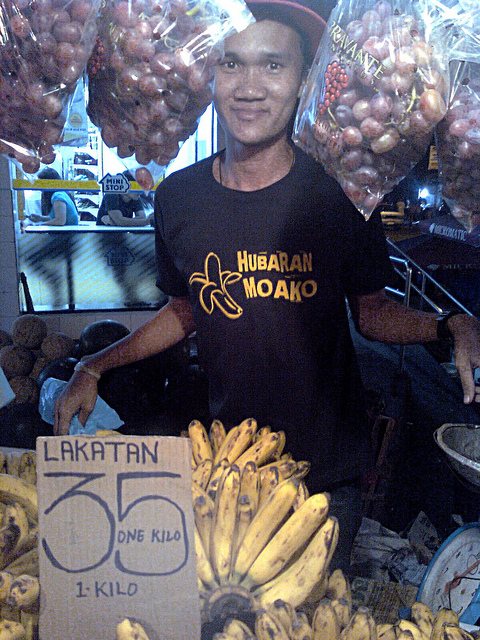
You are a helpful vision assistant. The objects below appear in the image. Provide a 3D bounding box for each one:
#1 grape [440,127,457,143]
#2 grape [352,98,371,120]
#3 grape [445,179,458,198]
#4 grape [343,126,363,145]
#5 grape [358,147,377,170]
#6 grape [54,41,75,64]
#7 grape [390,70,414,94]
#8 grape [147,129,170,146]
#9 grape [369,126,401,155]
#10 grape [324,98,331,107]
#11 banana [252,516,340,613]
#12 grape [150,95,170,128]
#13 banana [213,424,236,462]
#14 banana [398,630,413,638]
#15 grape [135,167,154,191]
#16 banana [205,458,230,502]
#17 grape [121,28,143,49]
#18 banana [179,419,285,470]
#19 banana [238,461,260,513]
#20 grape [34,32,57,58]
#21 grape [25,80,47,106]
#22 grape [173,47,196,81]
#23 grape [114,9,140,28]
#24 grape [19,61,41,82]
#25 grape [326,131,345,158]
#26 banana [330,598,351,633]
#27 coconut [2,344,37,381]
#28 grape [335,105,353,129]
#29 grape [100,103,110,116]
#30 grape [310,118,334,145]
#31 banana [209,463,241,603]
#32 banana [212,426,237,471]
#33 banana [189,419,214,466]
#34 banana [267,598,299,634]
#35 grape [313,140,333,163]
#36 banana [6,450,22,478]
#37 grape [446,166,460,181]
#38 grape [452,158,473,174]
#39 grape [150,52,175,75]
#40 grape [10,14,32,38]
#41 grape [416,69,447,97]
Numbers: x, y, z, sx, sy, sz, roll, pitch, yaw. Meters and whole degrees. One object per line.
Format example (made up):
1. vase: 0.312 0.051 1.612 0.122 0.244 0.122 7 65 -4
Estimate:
1. grape: 0.411 -0.363 1.151 0.028 0.027 0.016 -10 -4 35
2. grape: 0.231 -0.401 1.108 0.031 0.029 0.040 17 31 -24
3. grape: 0.449 -0.280 1.237 0.018 0.031 0.024 11 59 24
4. grape: 0.215 -0.355 1.120 0.030 0.037 0.027 1 55 17
5. grape: 0.255 -0.327 1.163 0.034 0.024 0.026 24 25 17
6. grape: -0.336 -0.499 1.094 0.030 0.036 0.021 8 16 -4
7. grape: 0.297 -0.441 1.074 0.042 0.037 0.048 10 28 10
8. grape: -0.178 -0.394 1.256 0.039 0.031 0.021 6 18 -6
9. grape: 0.277 -0.347 1.119 0.040 0.030 0.053 -30 21 39
10. grape: 0.172 -0.434 1.161 0.013 0.014 0.013 13 16 42
11. banana: 0.088 0.412 0.996 0.062 0.041 0.172 25 77 50
12. grape: -0.172 -0.436 1.212 0.026 0.043 0.035 44 24 30
13. banana: -0.029 0.271 1.308 0.028 0.027 0.090 17 53 25
14. banana: 0.255 0.479 0.893 0.017 0.004 0.011 -4 29 3
15. grape: -0.224 -0.332 1.362 0.035 0.044 0.025 -18 21 14
16. banana: -0.047 0.305 1.123 0.022 0.078 0.024 13 -11 43
17. grape: -0.214 -0.555 1.139 0.043 0.029 0.021 20 36 30
18. banana: -0.022 0.273 1.329 0.211 0.099 0.076 -4 27 42
19. banana: 0.018 0.301 1.070 0.027 0.084 0.029 -2 -16 -1
20. grape: -0.366 -0.516 1.090 0.038 0.041 0.016 -21 37 -32
21. grape: -0.399 -0.442 1.133 0.043 0.046 0.018 -8 32 -14
22. grape: -0.114 -0.514 1.169 0.022 0.057 0.046 26 39 36
23. grape: -0.225 -0.594 1.145 0.043 0.031 0.032 24 36 1
24. grape: -0.403 -0.474 1.113 0.036 0.039 0.035 2 13 9
25. grape: 0.189 -0.352 1.162 0.041 0.047 0.042 9 22 42
26. banana: 0.161 0.488 0.978 0.028 0.045 0.037 -7 -6 43
27. coconut: -1.277 0.229 3.326 0.182 0.174 0.099 -3 -21 -44
28. grape: 0.202 -0.399 1.135 0.034 0.041 0.035 17 51 43
29. grape: -0.298 -0.461 1.275 0.008 0.022 0.031 -28 48 -35
30. grape: 0.162 -0.388 1.194 0.021 0.050 0.040 -18 2 -38
31. banana: -0.032 0.375 1.055 0.043 0.226 0.082 -10 -15 42
32. banana: -0.037 0.273 1.281 0.025 0.106 0.028 32 -20 -21
33. banana: -0.097 0.268 1.318 0.032 0.036 0.104 -32 53 20
34. banana: 0.068 0.463 0.918 0.028 0.044 0.021 -5 -18 -5
35. grape: 0.185 -0.361 1.263 0.027 0.046 0.037 -30 40 -13
36. banana: -0.507 0.313 1.288 0.034 0.015 0.060 3 63 -13
37. grape: 0.443 -0.308 1.221 0.025 0.024 0.025 24 34 34
38. grape: 0.453 -0.309 1.167 0.023 0.015 0.029 13 -9 16
39. grape: -0.157 -0.506 1.156 0.043 0.043 0.023 -43 12 -7
40. grape: -0.406 -0.538 1.066 0.021 0.038 0.030 13 63 51
41. grape: 0.351 -0.440 1.081 0.040 0.046 0.039 -26 -12 -11
